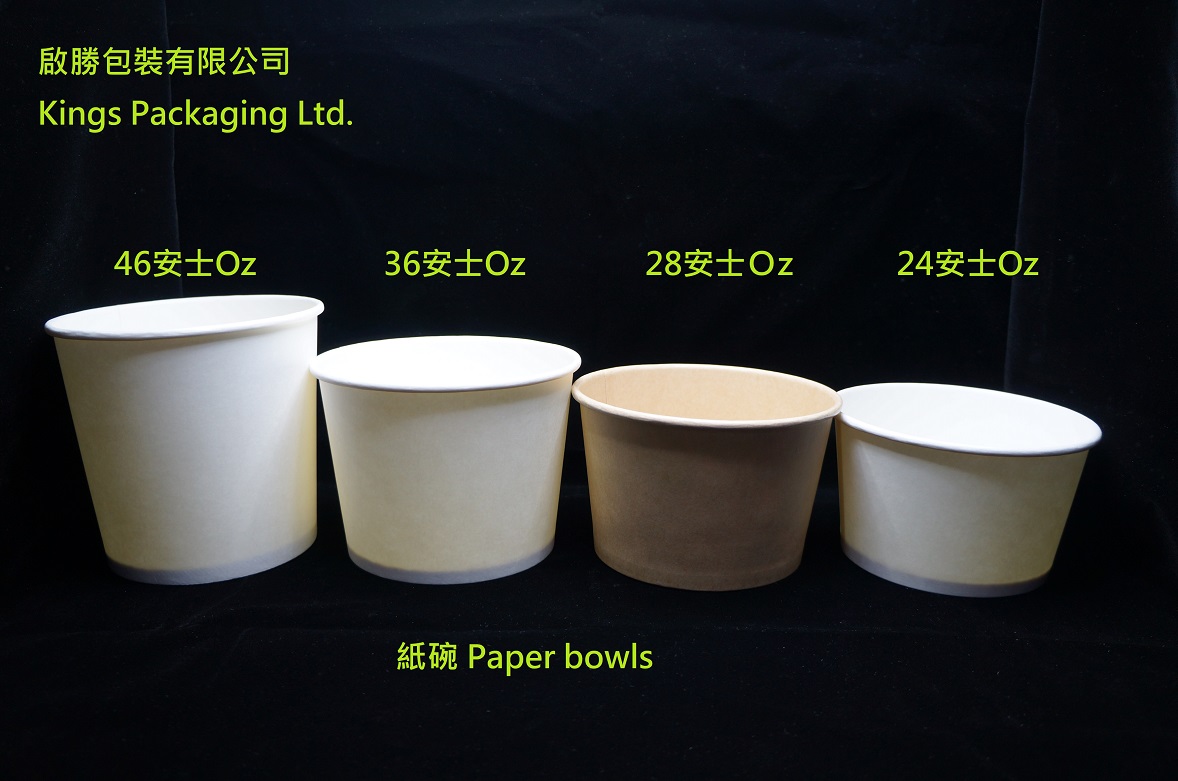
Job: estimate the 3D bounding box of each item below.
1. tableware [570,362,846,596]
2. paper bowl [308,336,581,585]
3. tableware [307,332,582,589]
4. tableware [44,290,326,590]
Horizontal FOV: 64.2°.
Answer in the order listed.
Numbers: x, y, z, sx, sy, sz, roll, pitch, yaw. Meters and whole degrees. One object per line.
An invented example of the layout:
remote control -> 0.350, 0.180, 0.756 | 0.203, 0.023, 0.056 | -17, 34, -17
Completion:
tableware -> 0.267, 0.220, 2.130 | 0.531, 0.362, 0.573 | 2, 4, 19
paper bowl -> -0.317, 0.157, 2.083 | 0.532, 0.388, 0.522 | 1, 14, 0
tableware -> -0.316, 0.166, 2.049 | 0.531, 0.393, 0.524 | -3, 14, -15
tableware -> -0.862, 0.100, 2.153 | 0.551, 0.541, 0.606 | -1, 12, 5
